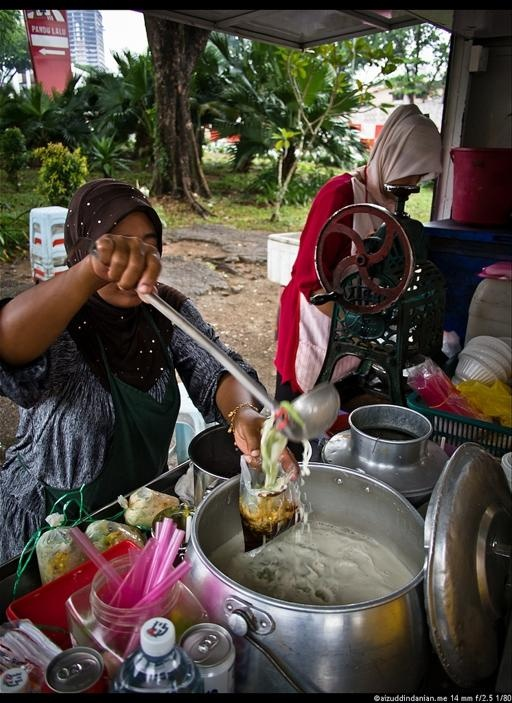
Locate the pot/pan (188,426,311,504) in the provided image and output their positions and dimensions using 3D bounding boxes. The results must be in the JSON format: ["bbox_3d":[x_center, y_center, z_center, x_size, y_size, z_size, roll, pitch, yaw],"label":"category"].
[{"bbox_3d":[-0.062,0.265,1.224,0.160,0.144,0.154,-2,9,-2],"label":"pot/pan"}]

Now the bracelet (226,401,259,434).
[{"bbox_3d":[-0.038,0.174,1.360,0.065,0.072,0.030,-13,2,-23],"label":"bracelet"}]
